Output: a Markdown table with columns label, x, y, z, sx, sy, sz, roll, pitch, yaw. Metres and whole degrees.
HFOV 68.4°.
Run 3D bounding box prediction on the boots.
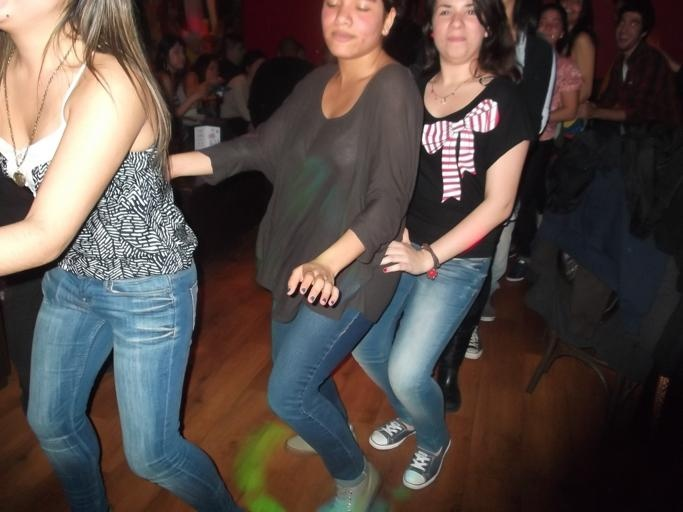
| label | x | y | z | sx | sy | sz | roll | pitch | yaw |
| --- | --- | --- | --- | --- | --- | --- | --- | --- | --- |
| boots | 0.545 | 0.409 | 2.281 | 0.183 | 0.410 | 0.612 | 10 | 70 | 12 |

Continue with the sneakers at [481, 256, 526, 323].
| label | x | y | z | sx | sy | sz | roll | pitch | yaw |
| --- | --- | --- | --- | --- | --- | --- | --- | --- | --- |
| sneakers | 1.033 | 0.234 | 3.182 | 0.132 | 0.415 | 0.154 | 25 | 5 | 38 |

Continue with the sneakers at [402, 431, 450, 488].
| label | x | y | z | sx | sy | sz | roll | pitch | yaw |
| --- | --- | --- | --- | --- | --- | --- | --- | --- | --- |
| sneakers | 0.351 | 0.888 | 2.103 | 0.087 | 0.111 | 0.273 | 13 | 33 | 24 |

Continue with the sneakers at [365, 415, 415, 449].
| label | x | y | z | sx | sy | sz | roll | pitch | yaw |
| --- | --- | --- | --- | --- | --- | --- | --- | --- | --- |
| sneakers | 0.236 | 0.818 | 2.326 | 0.229 | 0.089 | 0.103 | -11 | 45 | -20 |
